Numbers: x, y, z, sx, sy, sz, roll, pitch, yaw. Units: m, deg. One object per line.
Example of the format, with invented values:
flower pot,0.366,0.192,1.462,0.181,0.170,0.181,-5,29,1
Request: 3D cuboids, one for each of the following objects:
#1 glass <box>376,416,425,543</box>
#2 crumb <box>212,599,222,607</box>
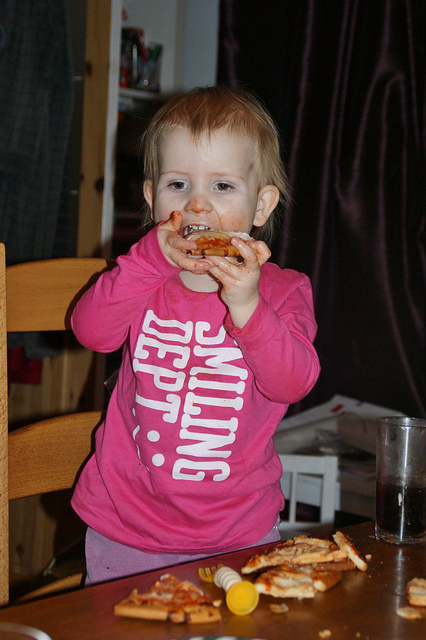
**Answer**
glass,0.201,0.171,0.617,0.049,0.113,0.069,0,-2,17
crumb,0.003,0.212,0.433,0.004,0.002,0.005,-4,5,12
